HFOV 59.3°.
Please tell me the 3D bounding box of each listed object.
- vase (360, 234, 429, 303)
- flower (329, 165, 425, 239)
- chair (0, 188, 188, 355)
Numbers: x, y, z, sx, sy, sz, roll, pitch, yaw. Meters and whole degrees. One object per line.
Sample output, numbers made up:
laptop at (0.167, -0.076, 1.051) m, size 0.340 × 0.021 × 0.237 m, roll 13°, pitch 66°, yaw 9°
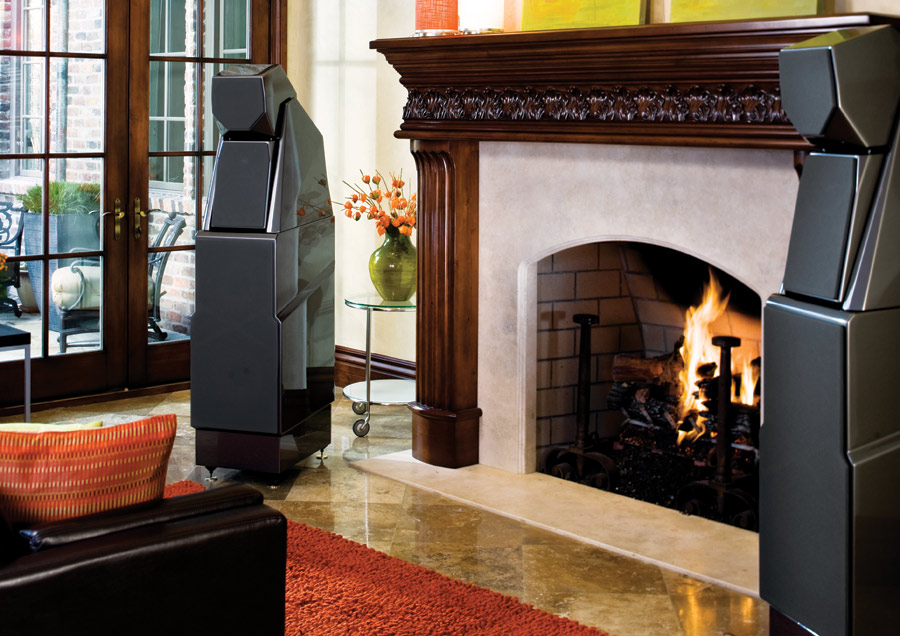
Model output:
vase at (-0.294, -0.297, 4.801) m, size 0.273 × 0.323 × 0.272 m, roll 2°, pitch -1°, yaw -22°
flower at (-0.401, -0.632, 4.769) m, size 0.385 × 0.420 × 0.564 m, roll -6°, pitch 0°, yaw 24°
chair at (-2.513, -0.341, 5.769) m, size 1.017 × 1.488 × 1.067 m, roll 2°, pitch 4°, yaw 39°
